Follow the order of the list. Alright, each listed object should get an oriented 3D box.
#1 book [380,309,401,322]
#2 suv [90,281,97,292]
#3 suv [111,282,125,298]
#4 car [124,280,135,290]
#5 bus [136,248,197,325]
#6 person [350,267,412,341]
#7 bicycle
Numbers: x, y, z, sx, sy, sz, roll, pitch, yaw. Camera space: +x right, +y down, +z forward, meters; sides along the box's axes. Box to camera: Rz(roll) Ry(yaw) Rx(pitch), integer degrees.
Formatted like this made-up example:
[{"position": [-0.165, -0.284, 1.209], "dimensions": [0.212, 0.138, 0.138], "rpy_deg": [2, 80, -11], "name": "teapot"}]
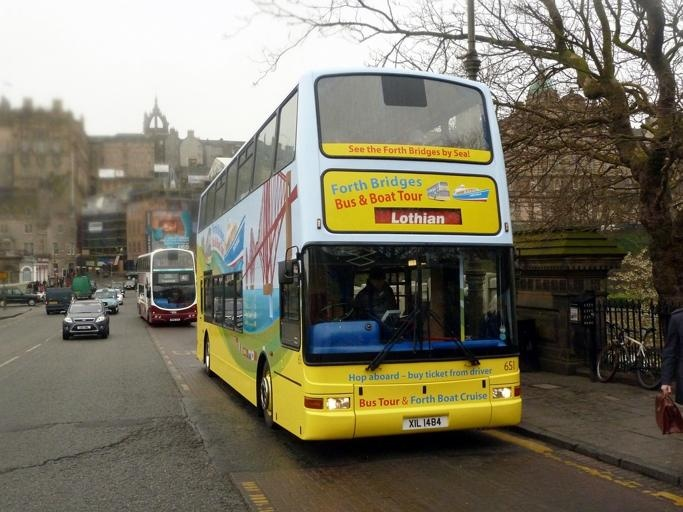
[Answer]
[{"position": [0.679, 0.812, 9.025], "dimensions": [0.267, 0.104, 0.053], "rpy_deg": [-3, 1, -23], "name": "book"}, {"position": [-30.019, 3.756, 79.758], "dimensions": [0.995, 1.430, 2.636], "rpy_deg": [1, -4, -24], "name": "suv"}, {"position": [-22.878, 3.487, 67.573], "dimensions": [1.234, 1.465, 3.188], "rpy_deg": [0, -6, -15], "name": "suv"}, {"position": [-30.969, 4.295, 96.823], "dimensions": [1.240, 1.178, 2.182], "rpy_deg": [1, -6, -20], "name": "car"}, {"position": [-9.727, 1.822, 36.301], "dimensions": [2.152, 3.276, 6.415], "rpy_deg": [1, -5, -22], "name": "bus"}, {"position": [0.528, 0.678, 9.000], "dimensions": [0.718, 1.225, 0.484], "rpy_deg": [0, -23, -10], "name": "person"}, {"position": [5.773, 1.969, 13.131], "dimensions": [0.795, 1.217, 1.787], "rpy_deg": [18, -10, -20], "name": "bicycle"}]
